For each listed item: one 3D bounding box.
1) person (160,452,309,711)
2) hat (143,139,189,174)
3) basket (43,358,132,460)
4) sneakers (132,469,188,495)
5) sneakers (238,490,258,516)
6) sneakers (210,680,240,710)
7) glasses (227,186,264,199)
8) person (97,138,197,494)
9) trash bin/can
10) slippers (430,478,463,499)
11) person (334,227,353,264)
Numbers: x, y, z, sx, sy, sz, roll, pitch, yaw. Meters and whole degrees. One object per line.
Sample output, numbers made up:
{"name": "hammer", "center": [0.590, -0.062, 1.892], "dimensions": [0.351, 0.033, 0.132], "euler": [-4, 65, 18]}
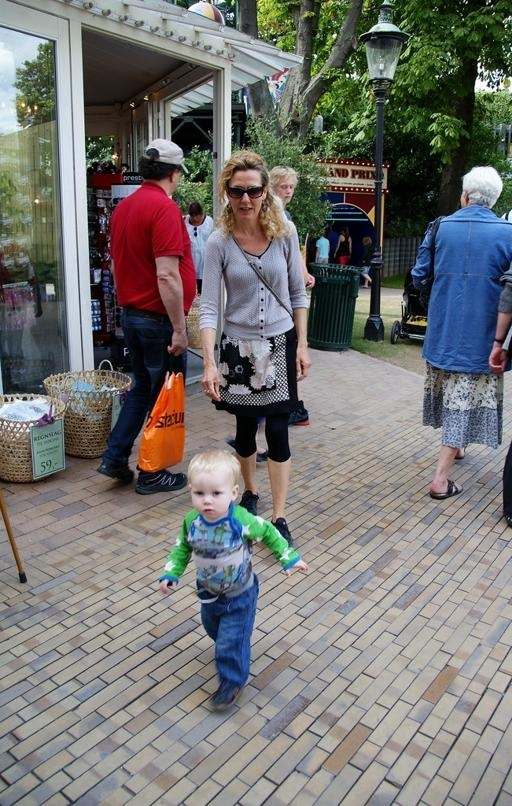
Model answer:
{"name": "person", "center": [-0.086, 0.567, 2.029], "dimensions": [0.460, 0.866, 0.300], "euler": [1, 11, -11]}
{"name": "hat", "center": [-0.542, -1.489, 3.711], "dimensions": [0.162, 0.118, 0.232], "euler": [28, 24, 28]}
{"name": "basket", "center": [-1.134, 0.035, 4.624], "dimensions": [0.658, 0.731, 0.735], "euler": [4, 21, -5]}
{"name": "sneakers", "center": [-0.622, 0.474, 4.029], "dimensions": [0.336, 0.226, 0.132], "euler": [-8, 20, -23]}
{"name": "sneakers", "center": [-0.046, 0.584, 3.553], "dimensions": [0.087, 0.100, 0.239], "euler": [1, 3, 3]}
{"name": "sneakers", "center": [-0.104, 0.955, 1.999], "dimensions": [0.057, 0.047, 0.118], "euler": [-7, -1, 15]}
{"name": "glasses", "center": [-0.055, -0.985, 2.883], "dimensions": [0.166, 0.056, 0.090], "euler": [3, 11, 1]}
{"name": "person", "center": [-0.698, -0.511, 3.812], "dimensions": [0.550, 2.176, 0.446], "euler": [5, 11, 10]}
{"name": "trash bin/can", "center": [1.087, -1.453, 9.115], "dimensions": [1.020, 1.410, 1.077], "euler": [5, 21, 9]}
{"name": "slippers", "center": [1.268, 0.564, 4.070], "dimensions": [0.197, 0.083, 0.101], "euler": [-15, 22, -31]}
{"name": "person", "center": [3.003, -5.418, 21.161], "dimensions": [0.503, 1.322, 1.973], "euler": [4, 11, 6]}
